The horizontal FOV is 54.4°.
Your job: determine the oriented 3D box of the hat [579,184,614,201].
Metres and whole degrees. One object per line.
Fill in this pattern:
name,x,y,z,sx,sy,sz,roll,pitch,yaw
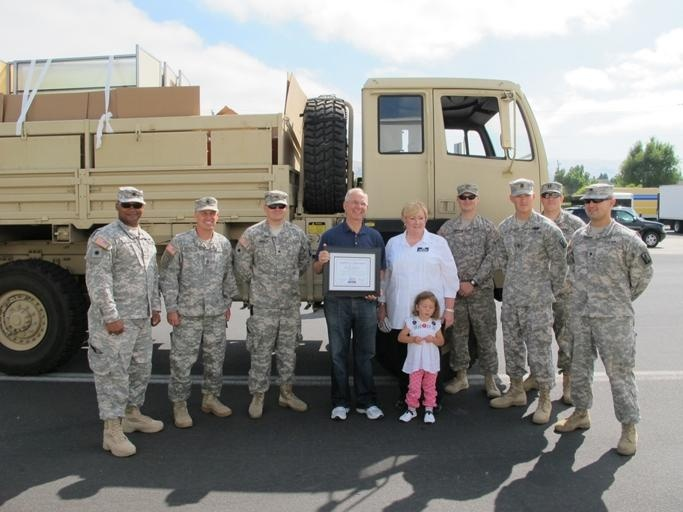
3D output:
hat,2.471,-0.617,6.417,0.271,0.173,0.261,-1,3,18

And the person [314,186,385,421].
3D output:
person,0.103,0.508,7.096,0.721,2.424,0.480,-1,2,6

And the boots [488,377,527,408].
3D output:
boots,1.735,1.539,7.347,0.528,0.374,0.204,0,-3,-1

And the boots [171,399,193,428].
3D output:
boots,-1.633,1.635,6.879,0.188,0.252,0.203,-2,3,-14

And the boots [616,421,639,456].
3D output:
boots,2.783,1.746,6.450,0.159,0.283,0.392,0,3,39

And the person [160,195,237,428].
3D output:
person,-1.478,0.742,6.965,0.765,2.013,0.337,-2,2,-11

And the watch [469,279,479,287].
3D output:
watch,1.462,0.303,7.339,0.098,0.064,0.090,25,0,36

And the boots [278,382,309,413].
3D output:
boots,-0.541,1.547,7.230,0.393,0.320,0.190,1,3,18

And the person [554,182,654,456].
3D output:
person,2.566,0.594,6.500,0.833,2.588,0.391,-1,2,23

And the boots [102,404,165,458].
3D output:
boots,-2.082,1.723,6.523,0.366,0.220,0.574,8,4,11

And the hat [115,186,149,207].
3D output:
hat,-2.122,-0.581,6.619,0.233,0.148,0.299,6,-4,-34

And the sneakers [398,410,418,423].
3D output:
sneakers,0.695,1.681,6.973,0.192,0.125,0.091,-3,-5,-3

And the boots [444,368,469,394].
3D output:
boots,1.315,1.491,7.823,0.350,0.332,0.177,-10,-7,6

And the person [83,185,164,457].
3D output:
person,-2.089,0.612,6.514,0.703,2.571,0.469,-3,3,-35

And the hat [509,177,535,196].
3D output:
hat,1.925,-0.739,7.133,0.209,0.138,0.258,0,3,10

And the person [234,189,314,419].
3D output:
person,-0.707,0.497,7.116,0.806,2.399,0.409,-2,2,-4

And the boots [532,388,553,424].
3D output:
boots,2.109,1.554,7.016,0.188,0.361,0.342,-1,3,19

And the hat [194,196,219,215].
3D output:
hat,-1.389,-0.525,6.861,0.175,0.164,0.168,1,3,38

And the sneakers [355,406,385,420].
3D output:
sneakers,0.310,1.659,7.062,0.246,0.105,0.124,-4,-1,40

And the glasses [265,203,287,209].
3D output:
glasses,-0.670,-0.516,6.926,0.190,0.051,0.085,-2,3,-14

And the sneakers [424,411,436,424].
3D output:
sneakers,0.920,1.695,6.944,0.101,0.063,0.172,0,-5,3

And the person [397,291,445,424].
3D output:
person,0.833,1.053,7.003,0.473,1.370,0.266,-1,2,5

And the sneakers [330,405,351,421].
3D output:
sneakers,-0.004,1.653,7.036,0.232,0.132,0.178,-2,3,-14

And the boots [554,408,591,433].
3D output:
boots,2.353,1.703,6.874,0.473,0.318,0.160,0,-7,-3
